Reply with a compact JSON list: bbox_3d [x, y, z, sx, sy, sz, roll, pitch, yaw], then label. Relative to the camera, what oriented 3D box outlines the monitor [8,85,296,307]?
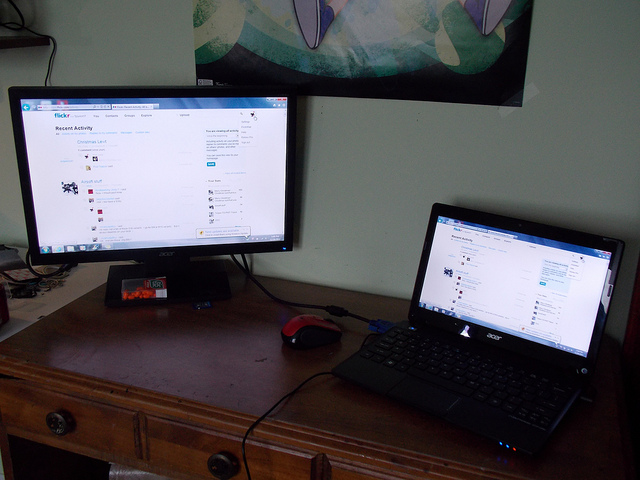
[{"bbox_3d":[-0.428,-0.124,1.367,0.567,0.450,0.193,-1,22,-13],"label":"monitor"}]

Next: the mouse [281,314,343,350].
[{"bbox_3d":[-0.020,0.209,1.249,0.128,0.047,0.069,0,16,-42],"label":"mouse"}]

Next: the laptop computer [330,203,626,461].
[{"bbox_3d":[0.331,0.154,1.179,0.487,0.301,0.518,-17,21,-33],"label":"laptop computer"}]
